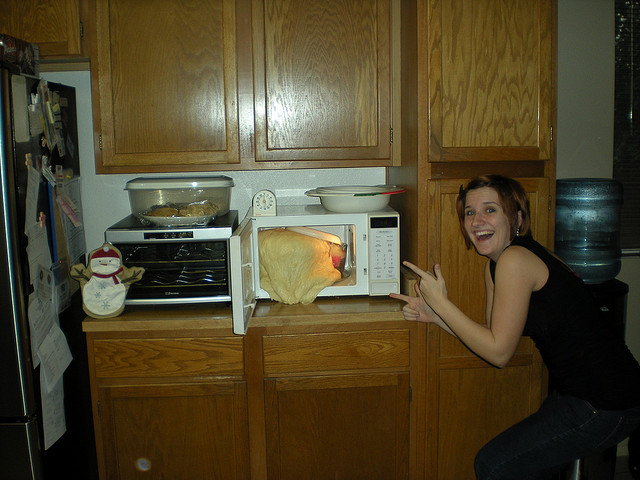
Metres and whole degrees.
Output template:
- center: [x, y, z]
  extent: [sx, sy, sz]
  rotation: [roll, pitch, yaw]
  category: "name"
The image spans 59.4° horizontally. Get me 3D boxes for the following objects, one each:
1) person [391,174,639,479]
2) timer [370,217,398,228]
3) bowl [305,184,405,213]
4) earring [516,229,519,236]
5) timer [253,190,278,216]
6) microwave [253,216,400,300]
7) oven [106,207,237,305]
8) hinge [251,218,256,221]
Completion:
- center: [0.790, 0.360, 2.140]
  extent: [0.736, 1.199, 0.368]
  rotation: [3, 12, 36]
  category: "person"
- center: [0.285, -0.080, 2.518]
  extent: [0.120, 0.051, 0.013]
  rotation: [-4, 9, 0]
  category: "timer"
- center: [0.176, -0.198, 2.561]
  extent: [0.341, 0.138, 0.328]
  rotation: [2, 8, 0]
  category: "bowl"
- center: [0.771, -0.031, 2.184]
  extent: [0.007, 0.022, 0.013]
  rotation: [-2, 10, 10]
  category: "earring"
- center: [-0.251, -0.167, 2.555]
  extent: [0.116, 0.172, 0.054]
  rotation: [-1, 6, -4]
  category: "timer"
- center: [0.011, 0.025, 2.708]
  extent: [0.690, 0.421, 0.399]
  rotation: [-4, 18, -5]
  category: "microwave"
- center: [-0.625, 0.083, 2.315]
  extent: [0.384, 0.270, 0.430]
  rotation: [-1, 7, -1]
  category: "oven"
- center: [-0.300, -0.095, 2.524]
  extent: [0.024, 0.011, 0.007]
  rotation: [4, 13, 38]
  category: "hinge"
